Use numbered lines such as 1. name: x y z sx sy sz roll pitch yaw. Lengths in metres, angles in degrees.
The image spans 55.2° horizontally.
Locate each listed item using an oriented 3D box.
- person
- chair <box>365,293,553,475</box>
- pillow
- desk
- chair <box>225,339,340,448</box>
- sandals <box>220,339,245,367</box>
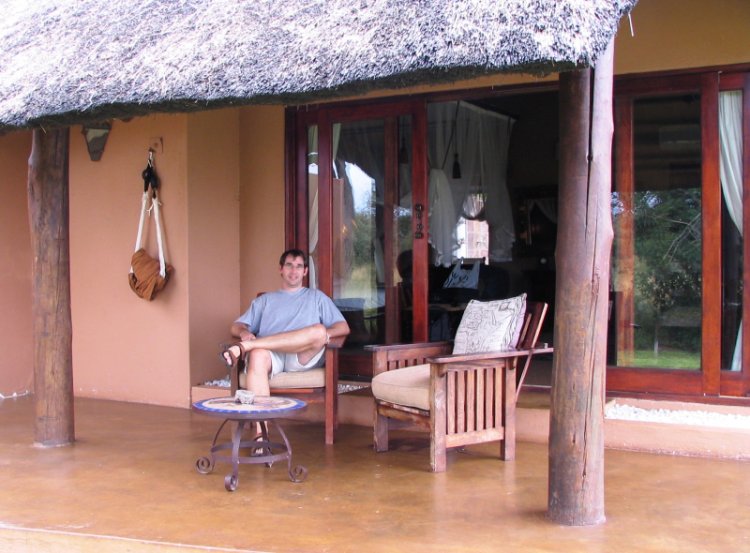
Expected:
1. person: -0.705 0.513 5.439 0.871 1.517 1.073 -1 -7 17
2. chair: 0.592 0.748 5.284 1.148 1.174 1.252 0 -2 37
3. pillow: 0.850 0.395 5.357 0.599 0.188 0.699 -10 30 21
4. desk: -0.851 1.019 4.845 0.690 0.566 1.165 -1 6 -12
5. chair: -0.610 0.852 5.559 0.704 0.998 0.777 -1 -6 17
6. sandals: -1.037 0.575 5.242 0.098 0.108 0.290 4 -23 0
